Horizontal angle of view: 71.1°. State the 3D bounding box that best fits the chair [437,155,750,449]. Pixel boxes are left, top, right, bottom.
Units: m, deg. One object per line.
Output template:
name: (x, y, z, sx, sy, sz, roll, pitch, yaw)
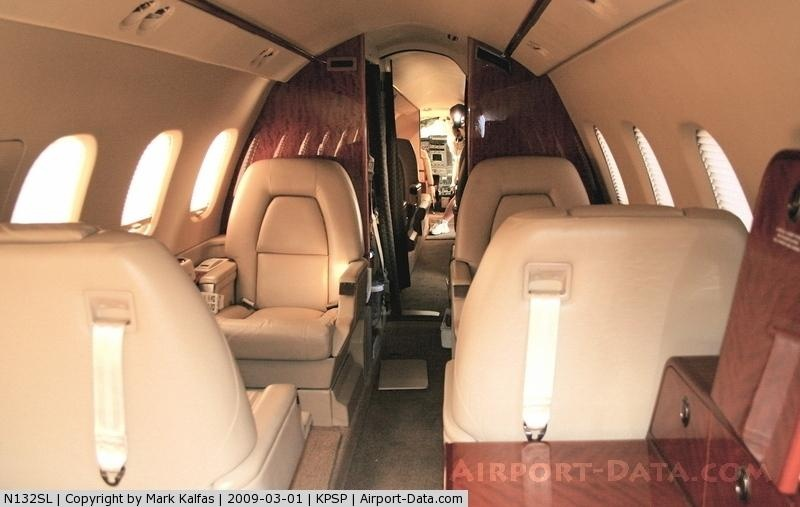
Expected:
chair: (0.601, 0.125, 2.556, 0.899, 1.100, 1.279, 2, 12, 0)
